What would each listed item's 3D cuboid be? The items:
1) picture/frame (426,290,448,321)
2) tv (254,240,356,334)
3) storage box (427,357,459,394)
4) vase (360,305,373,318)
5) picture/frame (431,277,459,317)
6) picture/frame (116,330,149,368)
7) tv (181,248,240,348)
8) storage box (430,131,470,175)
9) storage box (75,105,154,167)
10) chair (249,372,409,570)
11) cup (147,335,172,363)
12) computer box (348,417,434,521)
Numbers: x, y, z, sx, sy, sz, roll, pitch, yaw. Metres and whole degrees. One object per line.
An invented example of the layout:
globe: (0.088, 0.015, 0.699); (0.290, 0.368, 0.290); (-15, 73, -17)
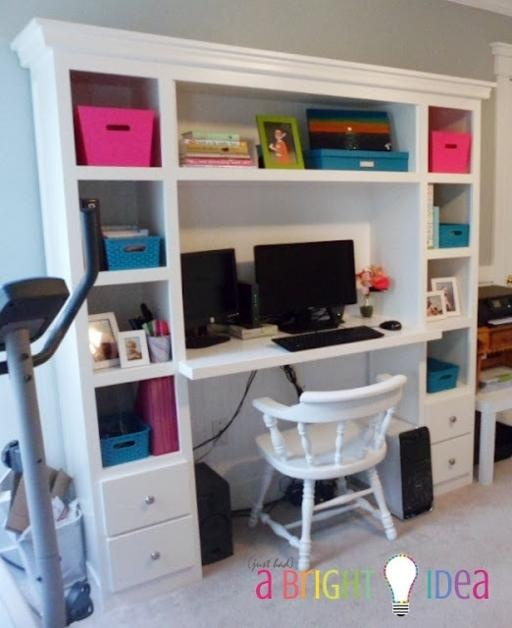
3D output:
picture/frame: (0.860, -0.039, 2.593); (0.142, 0.135, 0.006); (-8, 1, -38)
tv: (0.203, -0.127, 2.416); (0.411, 0.286, 0.116); (-7, 12, -28)
storage box: (0.911, 0.299, 2.726); (0.123, 0.083, 0.185); (-4, 10, -25)
vase: (0.536, -0.014, 2.625); (0.060, 0.057, 0.059); (-3, 3, -36)
picture/frame: (0.917, -0.079, 2.644); (0.189, 0.241, 0.013); (-3, -4, -31)
picture/frame: (-0.425, 0.124, 1.865); (0.125, 0.142, 0.013); (-4, -6, -40)
tv: (-0.185, -0.070, 2.146); (0.136, 0.398, 0.362); (8, 14, 42)
storage box: (0.884, -0.743, 2.495); (0.131, 0.162, 0.222); (1, 13, 1)
storage box: (-0.445, -0.552, 1.744); (0.259, 0.157, 0.196); (-7, 16, -28)
chair: (0.285, 0.583, 2.188); (0.579, 0.658, 0.497); (-8, 9, -42)
cup: (-0.331, 0.125, 1.947); (0.090, 0.090, 0.083); (0, 6, 0)
computer box: (0.605, 0.730, 2.555); (0.399, 0.364, 0.361); (3, -6, -43)
